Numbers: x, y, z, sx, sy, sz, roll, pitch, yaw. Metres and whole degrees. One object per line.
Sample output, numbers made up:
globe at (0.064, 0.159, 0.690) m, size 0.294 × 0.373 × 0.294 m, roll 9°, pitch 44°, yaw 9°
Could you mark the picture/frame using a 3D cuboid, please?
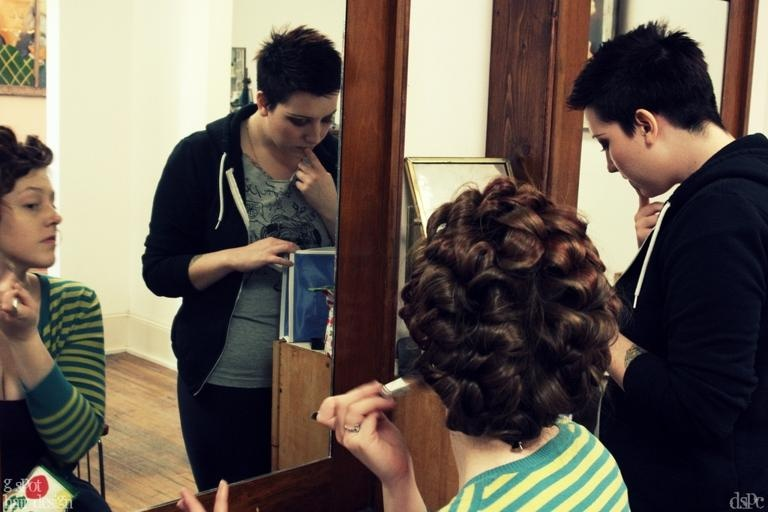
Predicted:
picture/frame at (0.179, -0.150, 1.814) m, size 0.308 × 0.214 × 0.029 m, roll -2°, pitch -13°, yaw -37°
